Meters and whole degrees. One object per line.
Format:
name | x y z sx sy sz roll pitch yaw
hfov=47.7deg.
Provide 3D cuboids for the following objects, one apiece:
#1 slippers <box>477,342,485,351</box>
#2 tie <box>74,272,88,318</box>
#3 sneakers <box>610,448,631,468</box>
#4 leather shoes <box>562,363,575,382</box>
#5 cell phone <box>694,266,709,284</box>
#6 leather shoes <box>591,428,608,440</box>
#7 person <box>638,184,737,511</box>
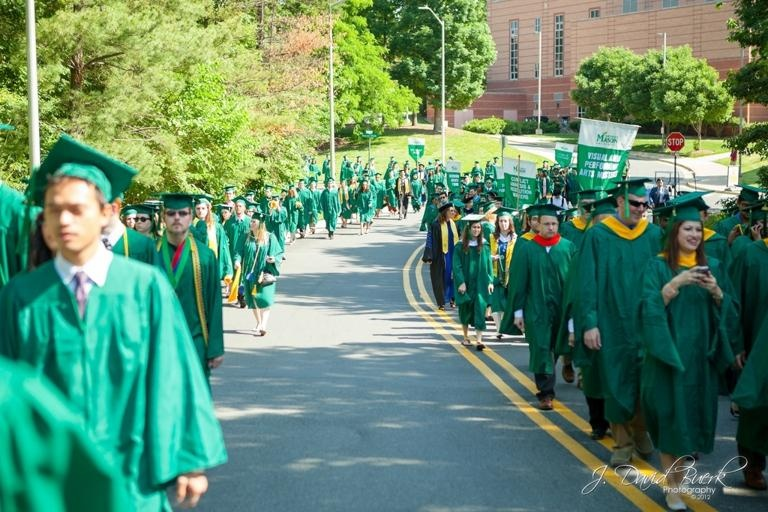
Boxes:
slippers | 1.526 1.448 13.912 0.116 0.081 0.121 2 -12 1
tie | -1.846 0.230 5.280 0.064 0.280 0.070 -3 0 -6
sneakers | 2.433 2.068 8.944 0.200 0.152 0.293 1 7 19
leather shoes | 2.596 1.656 12.303 0.106 0.304 0.119 -3 -33 5
cell phone | 2.939 0.160 7.999 0.102 0.148 0.046 -2 28 1
leather shoes | 2.401 2.005 9.743 0.196 0.098 0.078 8 -15 -23
person | 2.807 0.851 8.240 1.010 2.822 0.721 -6 8 -38
